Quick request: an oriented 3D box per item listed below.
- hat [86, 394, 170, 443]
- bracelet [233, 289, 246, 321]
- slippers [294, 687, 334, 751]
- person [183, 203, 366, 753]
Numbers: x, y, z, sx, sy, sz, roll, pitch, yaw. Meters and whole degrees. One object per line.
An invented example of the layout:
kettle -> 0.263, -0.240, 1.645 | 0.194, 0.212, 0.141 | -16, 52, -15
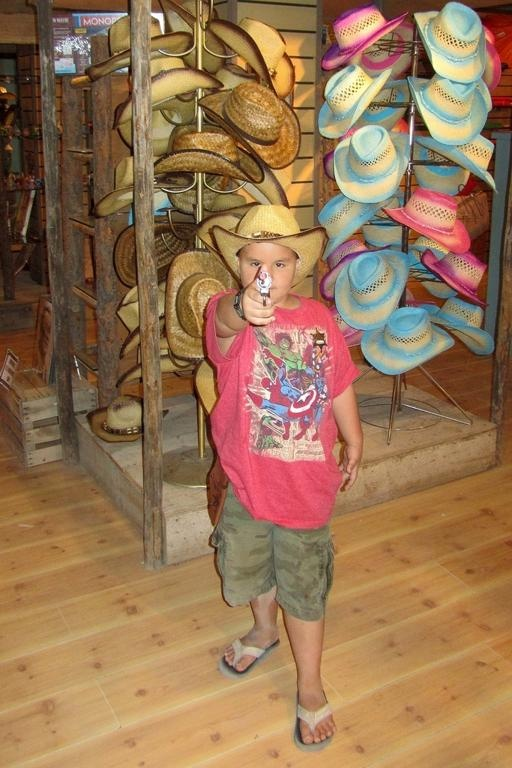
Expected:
hat -> -0.692, 0.165, 3.083 | 0.216, 0.209, 0.507 | -18, 25, -39
bracelet -> -0.031, -0.149, 1.133 | 0.021, 0.052, 0.043 | -3, 64, 1
slippers -> 0.151, 0.862, 1.601 | 0.096, 0.053, 0.225 | -4, 7, 4
person -> 0.085, 0.272, 1.484 | 0.383, 1.361, 0.567 | -4, 20, -7
